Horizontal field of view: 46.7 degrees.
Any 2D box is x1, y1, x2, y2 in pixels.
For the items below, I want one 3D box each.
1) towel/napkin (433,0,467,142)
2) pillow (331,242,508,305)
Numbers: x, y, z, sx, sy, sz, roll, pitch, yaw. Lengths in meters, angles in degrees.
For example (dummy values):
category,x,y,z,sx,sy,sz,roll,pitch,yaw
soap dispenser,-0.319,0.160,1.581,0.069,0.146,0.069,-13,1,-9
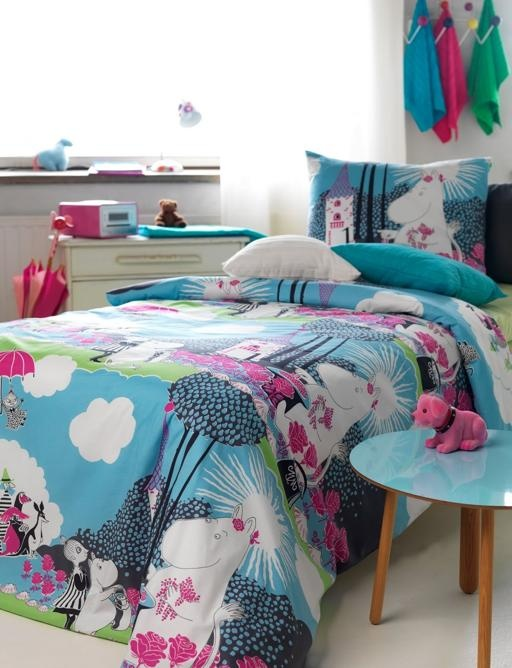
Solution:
category,x,y,z,sx,sy,sz,roll,pitch,yaw
towel/napkin,0.987,-1.310,2.962,0.171,0.673,0.163,-13,18,-43
pillow,0.495,-0.217,1.925,0.276,0.140,0.482,0,17,-39
